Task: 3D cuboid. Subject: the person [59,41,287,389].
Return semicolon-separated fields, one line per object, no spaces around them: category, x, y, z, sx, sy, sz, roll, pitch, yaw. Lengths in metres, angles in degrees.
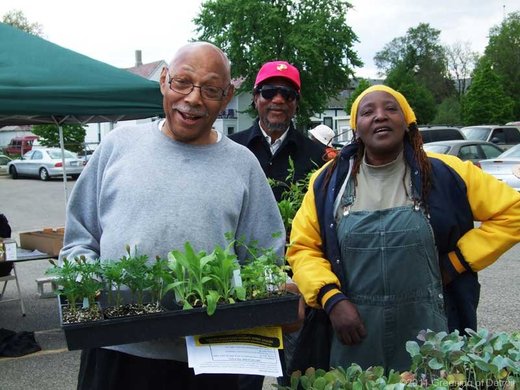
person;-0.403;0.118;2.320;1.091;1.719;0.627;-5;9;-22
